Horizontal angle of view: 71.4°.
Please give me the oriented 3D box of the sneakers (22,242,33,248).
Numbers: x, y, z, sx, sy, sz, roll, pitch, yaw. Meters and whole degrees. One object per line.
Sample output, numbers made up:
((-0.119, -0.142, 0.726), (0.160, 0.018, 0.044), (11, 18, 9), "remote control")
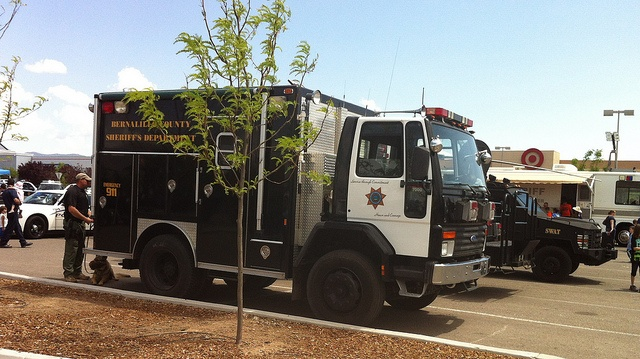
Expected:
((-12.172, 2.737, 18.472), (0.489, 0.200, 0.156), (-6, 10, -14), "sneakers")

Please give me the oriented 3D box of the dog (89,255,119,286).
((-6.196, 2.623, 12.805), (0.603, 0.838, 1.393), (-3, -17, 3), "dog")

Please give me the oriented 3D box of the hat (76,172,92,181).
((-6.597, -0.064, 12.504), (0.419, 0.201, 0.273), (2, 10, -41), "hat")

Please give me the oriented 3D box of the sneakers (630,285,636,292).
((10.508, 3.660, 14.934), (0.306, 0.183, 0.137), (-3, 6, -21), "sneakers")

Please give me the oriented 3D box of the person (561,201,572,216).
((12.684, 1.548, 23.049), (0.307, 0.696, 0.654), (17, -27, -40), "person")

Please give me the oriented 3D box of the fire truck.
((-1.105, 0.538, 11.618), (10.416, 4.766, 2.796), (4, 1, 19), "fire truck")
